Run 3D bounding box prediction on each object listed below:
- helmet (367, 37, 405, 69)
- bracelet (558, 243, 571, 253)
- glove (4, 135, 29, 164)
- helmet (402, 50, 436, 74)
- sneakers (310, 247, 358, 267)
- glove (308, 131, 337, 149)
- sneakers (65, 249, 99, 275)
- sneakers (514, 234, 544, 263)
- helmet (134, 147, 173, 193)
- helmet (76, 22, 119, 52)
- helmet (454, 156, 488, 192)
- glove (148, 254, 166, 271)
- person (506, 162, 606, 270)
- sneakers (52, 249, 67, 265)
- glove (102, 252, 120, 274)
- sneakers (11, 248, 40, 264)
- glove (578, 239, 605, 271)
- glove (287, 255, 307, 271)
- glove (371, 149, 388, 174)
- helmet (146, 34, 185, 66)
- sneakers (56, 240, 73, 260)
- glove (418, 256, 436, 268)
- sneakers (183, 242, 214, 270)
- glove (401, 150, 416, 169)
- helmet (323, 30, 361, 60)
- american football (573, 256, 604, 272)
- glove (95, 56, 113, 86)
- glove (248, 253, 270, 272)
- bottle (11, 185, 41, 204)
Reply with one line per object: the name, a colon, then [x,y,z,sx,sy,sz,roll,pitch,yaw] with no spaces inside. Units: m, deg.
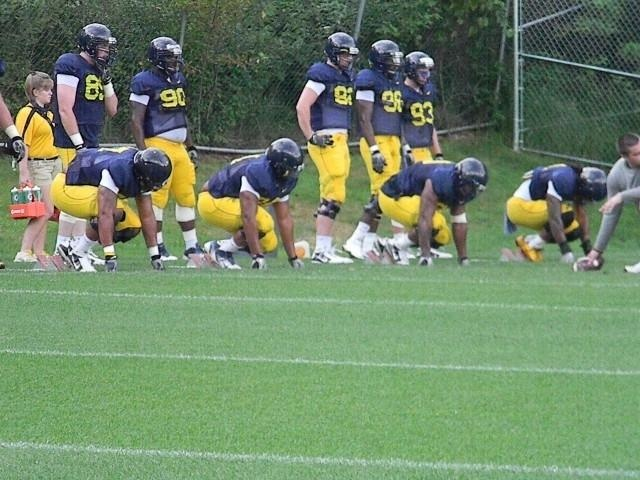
helmet: [0.736,-2.033,9.126,0.401,0.328,0.336,20,30,36]
bracelet: [2.532,0.081,8.514,0.107,0.108,0.102,-3,1,16]
glove: [-2.848,-0.847,7.659,0.250,0.188,0.122,4,11,35]
helmet: [1.129,-2.066,9.522,0.289,0.237,0.262,12,26,25]
sneakers: [0.133,0.187,8.651,0.452,0.206,0.168,0,-1,12]
glove: [0.004,-1.015,8.573,0.204,0.056,0.156,25,29,-19]
sneakers: [-2.162,0.212,7.441,0.171,0.184,0.572,-5,14,-27]
sneakers: [2.299,0.108,9.058,0.158,0.365,0.154,-36,5,1]
helmet: [-1.458,-0.545,7.124,0.339,0.411,0.414,2,14,-25]
helmet: [-2.156,-1.935,7.940,0.367,0.294,0.289,7,31,-12]
helmet: [1.417,-0.605,7.748,0.296,0.285,0.277,2,12,6]
glove: [-1.486,0.209,7.463,0.078,0.103,0.228,-4,16,-32]
person: [2.533,-0.269,8.815,0.988,1.060,0.677,12,8,32]
sneakers: [-2.442,0.143,7.704,0.136,0.186,0.261,-3,13,-17]
glove: [-1.823,0.201,7.220,0.127,0.225,0.193,-3,7,-33]
sneakers: [-2.948,0.159,8.227,0.334,0.152,0.128,3,4,18]
glove: [2.522,0.185,7.697,0.274,0.113,0.179,-24,40,-19]
glove: [-0.240,0.220,7.827,0.135,0.125,0.112,6,-13,5]
glove: [0.632,-0.835,8.911,0.166,0.231,0.115,-2,-12,-27]
helmet: [-1.515,-1.811,8.048,0.361,0.311,0.309,16,21,24]
sneakers: [-2.408,0.084,7.706,0.131,0.108,0.291,-1,28,-30]
glove: [1.027,0.220,8.005,0.118,0.116,0.093,-4,53,19]
sneakers: [-1.232,0.176,8.274,0.152,0.187,0.420,-1,-2,-29]
glove: [0.963,-0.907,9.335,0.203,0.194,0.173,-1,5,18]
helmet: [0.220,-2.067,8.807,0.321,0.271,0.265,3,34,6]
american football: [2.502,0.232,7.687,0.255,0.151,0.100,-4,-5,-11]
glove: [-2.100,-1.633,7.969,0.085,0.209,0.131,8,4,39]
glove: [-0.572,0.211,7.515,0.150,0.152,0.111,0,4,8]
bottle: [-2.904,-0.468,8.109,0.188,0.337,0.203,0,6,0]
